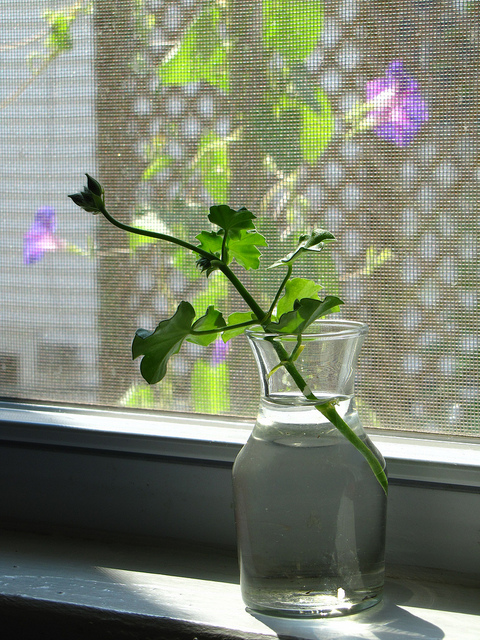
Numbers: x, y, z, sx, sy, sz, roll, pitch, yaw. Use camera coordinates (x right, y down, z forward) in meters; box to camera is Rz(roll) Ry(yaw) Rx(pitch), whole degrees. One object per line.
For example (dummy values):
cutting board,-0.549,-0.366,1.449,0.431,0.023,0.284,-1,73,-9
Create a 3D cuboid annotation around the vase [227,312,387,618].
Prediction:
vase,0.060,0.137,0.601,0.134,0.255,0.076,-2,11,2
